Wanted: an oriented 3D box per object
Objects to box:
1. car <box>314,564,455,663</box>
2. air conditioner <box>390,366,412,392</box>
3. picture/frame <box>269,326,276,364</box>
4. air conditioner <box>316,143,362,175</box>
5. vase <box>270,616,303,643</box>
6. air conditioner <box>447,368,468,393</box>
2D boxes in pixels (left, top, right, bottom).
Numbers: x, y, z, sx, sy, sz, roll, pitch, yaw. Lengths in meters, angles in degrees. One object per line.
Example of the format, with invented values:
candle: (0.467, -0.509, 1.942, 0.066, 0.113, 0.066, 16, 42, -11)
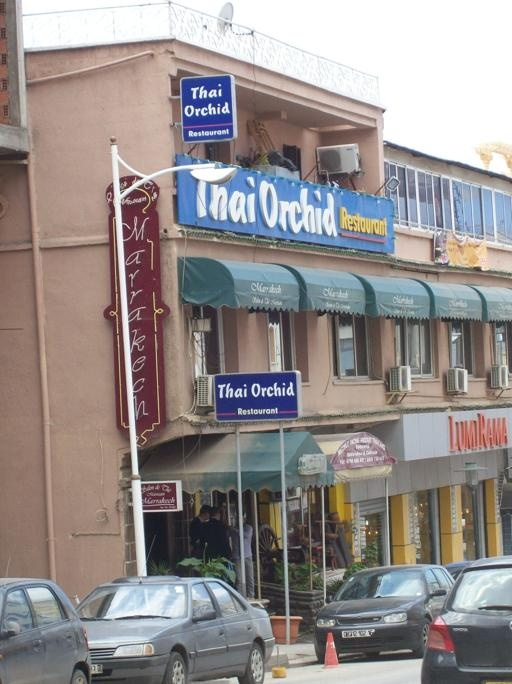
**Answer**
car: (1.962, 3.988, 20.545, 1.245, 1.032, 2.370, -5, -12, 17)
air conditioner: (2.940, 0.730, 28.334, 0.449, 0.775, 0.407, -1, -3, 23)
picture/frame: (0.281, 0.012, 25.529, 0.061, 0.705, 0.265, -5, -7, 15)
air conditioner: (1.614, -3.727, 27.939, 0.904, 0.792, 0.550, -6, -9, 37)
vase: (0.457, 4.500, 21.762, 0.482, 0.419, 0.501, -8, -11, 38)
air conditioner: (4.378, 0.817, 30.840, 0.178, 0.491, 0.488, -2, -2, 24)
